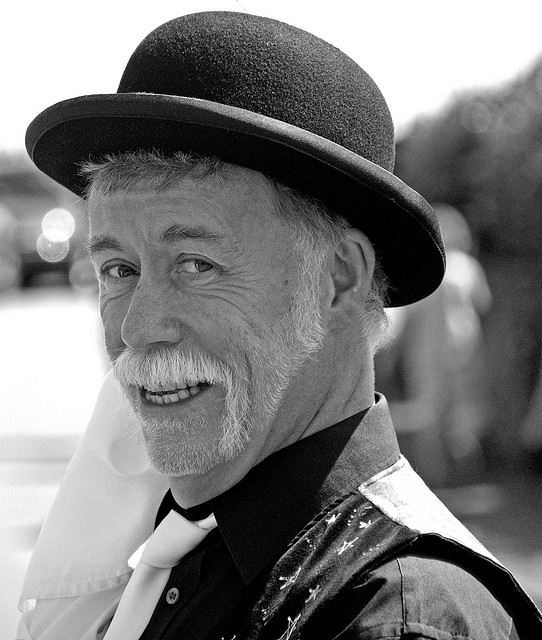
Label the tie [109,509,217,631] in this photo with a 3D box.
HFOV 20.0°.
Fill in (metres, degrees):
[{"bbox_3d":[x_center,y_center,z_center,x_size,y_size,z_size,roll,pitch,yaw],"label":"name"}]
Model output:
[{"bbox_3d":[-0.302,0.733,4.437,0.403,0.117,0.087,-51,14,-4],"label":"tie"}]
